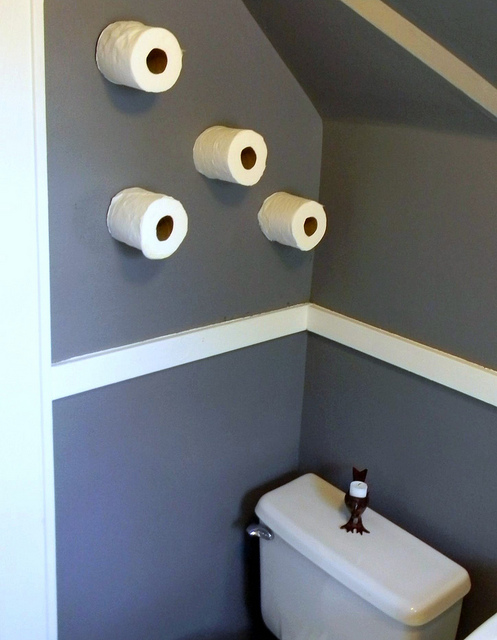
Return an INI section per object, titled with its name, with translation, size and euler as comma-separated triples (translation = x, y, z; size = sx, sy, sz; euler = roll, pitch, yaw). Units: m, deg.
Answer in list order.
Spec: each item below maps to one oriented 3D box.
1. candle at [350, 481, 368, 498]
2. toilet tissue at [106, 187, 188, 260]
[candle]
translation = 0.195, 0.299, 1.085
size = 0.023, 0.019, 0.025
euler = 2, 21, -1
[toilet tissue]
translation = -0.142, -0.138, 0.917
size = 0.095, 0.107, 0.104
euler = -8, 21, -41
